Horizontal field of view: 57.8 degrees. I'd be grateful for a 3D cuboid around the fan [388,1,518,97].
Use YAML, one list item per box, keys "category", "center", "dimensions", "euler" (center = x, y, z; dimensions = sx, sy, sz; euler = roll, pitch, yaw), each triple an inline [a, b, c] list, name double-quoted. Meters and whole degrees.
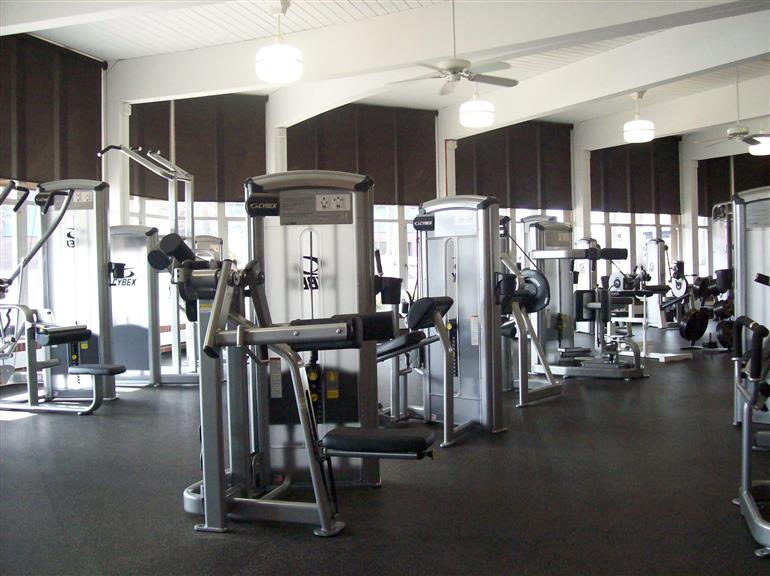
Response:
- category: "fan"
  center: [0.858, -2.444, 8.035]
  dimensions: [1.266, 1.329, 1.202]
  euler: [-2, 0, -34]
